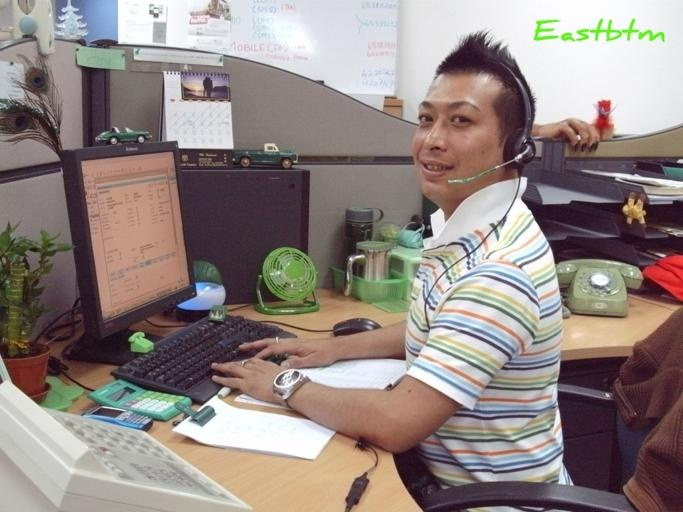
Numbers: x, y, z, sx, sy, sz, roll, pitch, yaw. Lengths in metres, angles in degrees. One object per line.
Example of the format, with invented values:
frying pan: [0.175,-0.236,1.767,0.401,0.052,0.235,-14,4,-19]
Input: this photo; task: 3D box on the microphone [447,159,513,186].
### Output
microphone: [0.259,-0.161,0.940,0.117,0.018,0.011,-19,12,2]

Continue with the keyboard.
keyboard: [-0.323,0.220,1.068,0.146,0.032,0.242,8,18,19]

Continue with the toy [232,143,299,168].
toy: [-0.240,-0.310,1.513,0.144,0.054,0.083,-1,18,-8]

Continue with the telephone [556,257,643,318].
telephone: [0.811,0.101,1.554,0.216,0.131,0.172,-8,18,-43]

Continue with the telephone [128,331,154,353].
telephone: [-0.453,0.193,1.136,0.056,0.036,0.053,12,16,6]

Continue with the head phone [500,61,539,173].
head phone: [0.376,-0.256,0.973,0.048,0.134,0.118,4,10,26]

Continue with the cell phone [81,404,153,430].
cell phone: [-0.393,0.284,0.880,0.138,0.024,0.063,10,8,3]

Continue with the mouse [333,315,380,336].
mouse: [0.032,0.181,1.281,0.099,0.028,0.052,-6,10,13]
